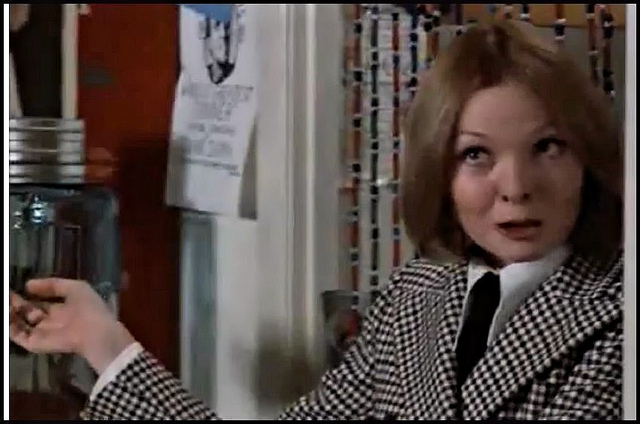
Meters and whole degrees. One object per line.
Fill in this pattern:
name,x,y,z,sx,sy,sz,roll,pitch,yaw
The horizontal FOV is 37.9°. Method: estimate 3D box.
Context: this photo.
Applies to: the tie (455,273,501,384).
tie,0.494,0.356,2.907,0.091,0.435,0.063,-2,36,-6
